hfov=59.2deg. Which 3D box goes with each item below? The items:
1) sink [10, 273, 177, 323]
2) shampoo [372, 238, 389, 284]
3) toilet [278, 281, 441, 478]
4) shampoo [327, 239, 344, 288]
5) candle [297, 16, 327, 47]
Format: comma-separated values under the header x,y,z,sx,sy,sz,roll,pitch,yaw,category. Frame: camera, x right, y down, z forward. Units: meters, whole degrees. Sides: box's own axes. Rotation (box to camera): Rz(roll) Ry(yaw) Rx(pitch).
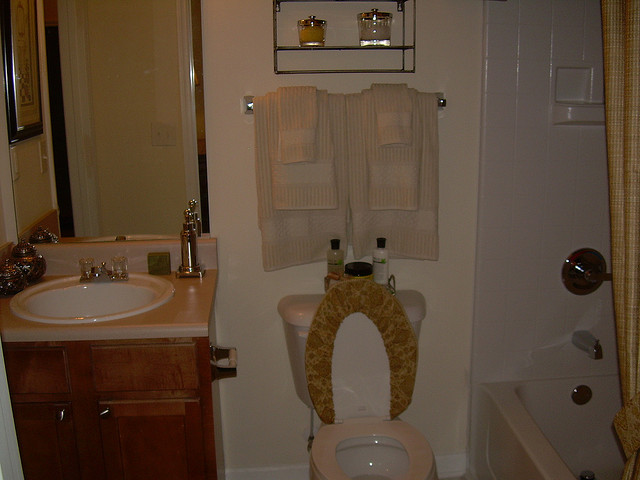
x,y,z,sx,sy,sz,roll,pitch,yaw,category
-0.804,0.228,2.023,0.557,0.141,0.364,-4,9,-7,sink
0.238,0.083,2.205,0.063,0.180,0.063,1,12,8,shampoo
0.147,0.484,2.172,0.491,0.816,0.775,-4,29,-4,toilet
0.059,0.083,2.270,0.061,0.178,0.060,-13,22,-38,shampoo
-0.034,-0.783,2.144,0.098,0.112,0.108,-1,14,-4,candle
